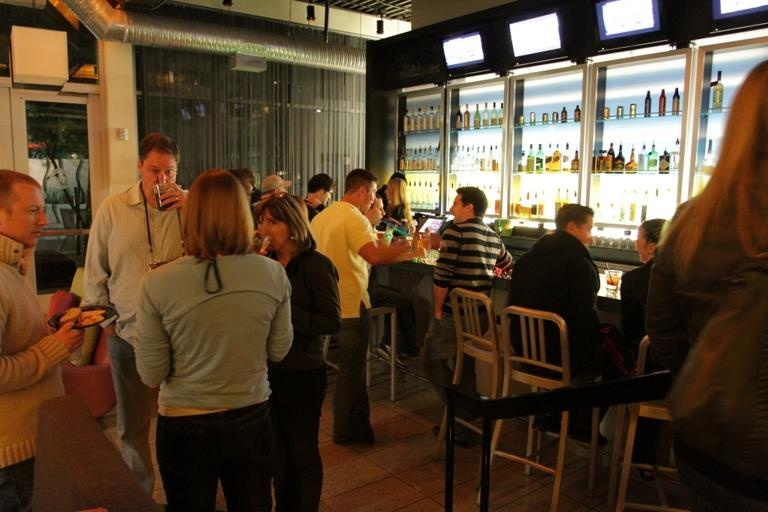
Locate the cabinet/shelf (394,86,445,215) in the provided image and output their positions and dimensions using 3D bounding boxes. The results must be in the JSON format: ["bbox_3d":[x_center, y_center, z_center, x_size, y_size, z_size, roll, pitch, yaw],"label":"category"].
[{"bbox_3d":[0.385,-1.294,8.037,0.343,1.581,0.749,2,8,21],"label":"cabinet/shelf"}]

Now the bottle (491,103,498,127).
[{"bbox_3d":[1.223,-1.582,6.715,0.068,0.255,0.202,3,12,11],"label":"bottle"}]

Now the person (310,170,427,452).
[{"bbox_3d":[-0.139,0.384,4.780,0.722,2.050,0.876,0,6,-28],"label":"person"}]

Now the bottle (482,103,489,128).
[{"bbox_3d":[1.140,-1.582,6.793,0.063,0.256,0.193,2,11,6],"label":"bottle"}]

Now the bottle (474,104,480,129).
[{"bbox_3d":[1.064,-1.594,6.875,0.078,0.261,0.180,2,11,6],"label":"bottle"}]

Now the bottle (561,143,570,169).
[{"bbox_3d":[1.843,-1.009,6.133,0.070,0.265,0.157,4,12,15],"label":"bottle"}]

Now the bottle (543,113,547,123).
[{"bbox_3d":[1.643,-1.400,6.176,0.053,0.097,0.108,4,12,13],"label":"bottle"}]

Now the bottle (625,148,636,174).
[{"bbox_3d":[2.294,-0.866,5.612,0.104,0.177,0.107,1,11,0],"label":"bottle"}]

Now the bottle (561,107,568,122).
[{"bbox_3d":[1.818,-1.429,6.115,0.077,0.153,0.238,4,12,16],"label":"bottle"}]

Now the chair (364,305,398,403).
[{"bbox_3d":[-0.060,0.882,5.459,0.403,0.718,0.334,3,-14,-15],"label":"chair"}]

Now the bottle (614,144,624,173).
[{"bbox_3d":[2.225,-0.923,5.714,0.096,0.238,0.205,6,12,24],"label":"bottle"}]

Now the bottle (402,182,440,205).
[{"bbox_3d":[0.478,-0.789,7.588,0.291,0.290,0.100,10,17,36],"label":"bottle"}]

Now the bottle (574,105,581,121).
[{"bbox_3d":[1.910,-1.412,5.989,0.052,0.157,0.250,4,12,13],"label":"bottle"}]

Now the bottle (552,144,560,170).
[{"bbox_3d":[1.749,-0.969,6.151,0.095,0.216,0.084,7,12,26],"label":"bottle"}]

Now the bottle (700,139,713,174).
[{"bbox_3d":[2.701,-0.836,5.047,0.113,0.264,0.117,-2,15,1],"label":"bottle"}]

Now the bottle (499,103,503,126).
[{"bbox_3d":[1.285,-1.569,6.694,0.054,0.238,0.183,4,12,14],"label":"bottle"}]

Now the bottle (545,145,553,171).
[{"bbox_3d":[1.692,-1.014,6.234,0.062,0.275,0.174,4,12,15],"label":"bottle"}]

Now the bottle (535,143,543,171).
[{"bbox_3d":[1.622,-1.020,6.296,0.089,0.287,0.182,4,12,14],"label":"bottle"}]

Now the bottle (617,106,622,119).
[{"bbox_3d":[2.199,-1.342,5.655,0.052,0.111,0.097,5,12,20],"label":"bottle"}]

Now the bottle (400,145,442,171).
[{"bbox_3d":[0.485,-1.232,7.579,0.388,0.246,0.050,-2,-8,45],"label":"bottle"}]

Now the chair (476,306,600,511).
[{"bbox_3d":[1.091,0.937,4.123,0.731,1.299,1.028,5,12,19],"label":"chair"}]

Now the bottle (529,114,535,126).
[{"bbox_3d":[1.553,-1.434,6.322,0.063,0.132,0.222,3,12,11],"label":"bottle"}]

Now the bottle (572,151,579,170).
[{"bbox_3d":[1.876,-0.928,5.949,0.067,0.192,0.390,4,12,17],"label":"bottle"}]
